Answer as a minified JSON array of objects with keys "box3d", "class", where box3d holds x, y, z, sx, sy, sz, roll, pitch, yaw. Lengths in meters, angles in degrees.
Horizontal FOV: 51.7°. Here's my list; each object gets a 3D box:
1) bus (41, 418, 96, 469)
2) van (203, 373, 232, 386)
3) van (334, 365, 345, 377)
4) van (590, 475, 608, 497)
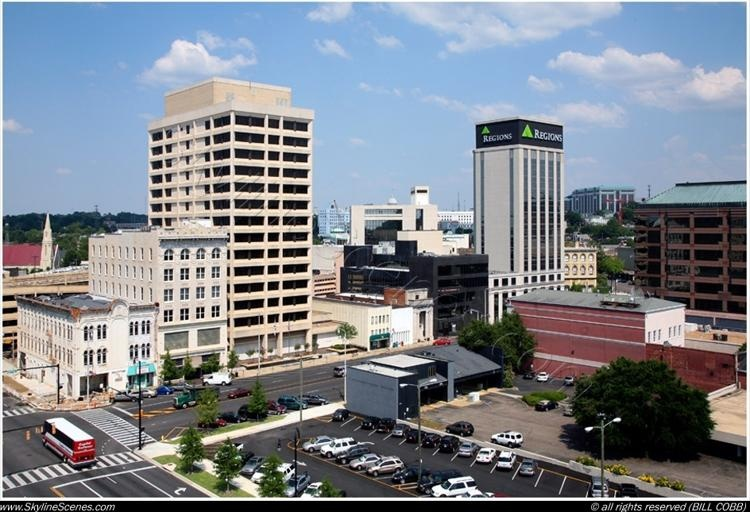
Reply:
[{"box3d":[-44.040,27.735,115.303,5.338,4.683,13.423,-5,17,-38],"class":"bus"},{"box3d":[-29.881,23.449,147.128,4.537,1.963,2.304,3,-3,0],"class":"van"},{"box3d":[-6.747,22.927,152.949,2.473,1.183,1.555,-10,14,-43],"class":"van"},{"box3d":[31.228,32.145,108.049,1.882,1.690,3.944,-2,-3,7],"class":"van"}]
